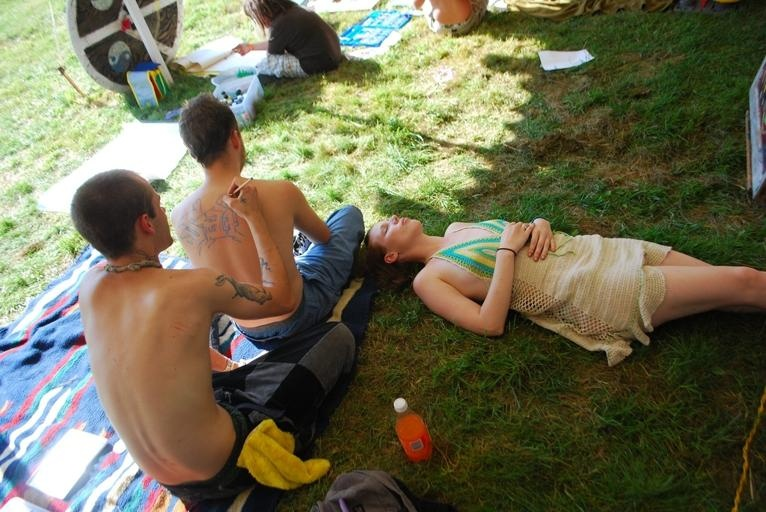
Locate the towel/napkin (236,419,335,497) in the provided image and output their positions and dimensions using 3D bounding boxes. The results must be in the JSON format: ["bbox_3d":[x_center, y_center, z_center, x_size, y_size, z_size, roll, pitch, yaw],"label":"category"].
[{"bbox_3d":[-0.623,1.224,3.523,0.576,0.199,0.417,18,29,35],"label":"towel/napkin"}]

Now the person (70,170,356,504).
[{"bbox_3d":[-1.142,0.524,3.411,1.034,1.825,1.261,-9,44,17],"label":"person"}]
